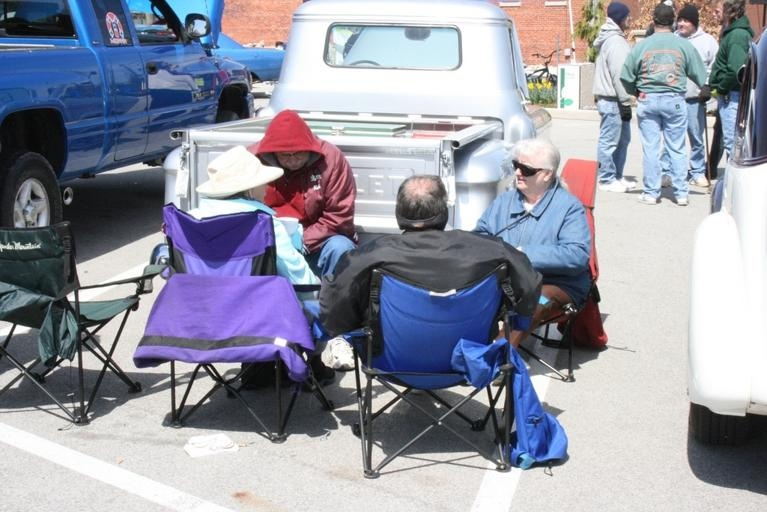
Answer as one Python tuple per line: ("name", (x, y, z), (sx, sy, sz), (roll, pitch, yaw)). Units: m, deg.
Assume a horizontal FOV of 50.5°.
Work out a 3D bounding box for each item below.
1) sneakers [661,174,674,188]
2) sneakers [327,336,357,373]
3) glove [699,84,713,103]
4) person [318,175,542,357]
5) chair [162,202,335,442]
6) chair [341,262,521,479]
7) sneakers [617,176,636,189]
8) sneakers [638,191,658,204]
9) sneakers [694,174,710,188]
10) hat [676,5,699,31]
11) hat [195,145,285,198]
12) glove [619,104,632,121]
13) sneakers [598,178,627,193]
("sneakers", (4.135, -1.087, 11.815), (0.184, 0.251, 0.553), (3, 10, 21))
("sneakers", (-0.313, 0.724, 5.870), (0.185, 0.185, 0.427), (0, -3, -6))
("glove", (4.346, -2.175, 10.963), (0.175, 0.248, 0.090), (6, 2, 34))
("person", (0.285, 0.071, 4.946), (1.323, 0.978, 0.490), (0, 17, 8))
("chair", (-0.934, 0.411, 5.633), (1.329, 1.446, 1.422), (-1, 5, -5))
("chair", (0.293, 0.656, 5.332), (1.180, 1.340, 1.238), (-3, 4, -18))
("sneakers", (3.601, -1.080, 11.977), (0.132, 0.155, 0.367), (-1, 13, 3))
("sneakers", (3.577, -0.769, 10.998), (0.122, 0.128, 0.296), (-4, 10, -7))
("sneakers", (4.712, -1.097, 11.987), (0.117, 0.117, 0.269), (-3, 2, -9))
("hat", (4.426, -3.500, 11.941), (0.375, 0.353, 0.290), (6, 7, -41))
("hat", (-0.995, -0.513, 5.473), (0.429, 0.170, 0.390), (-25, 19, -15))
("glove", (3.279, -1.905, 10.974), (0.194, 0.180, 0.268), (1, -32, 12))
("sneakers", (3.344, -1.014, 11.883), (0.357, 0.155, 0.158), (2, 7, 23))
